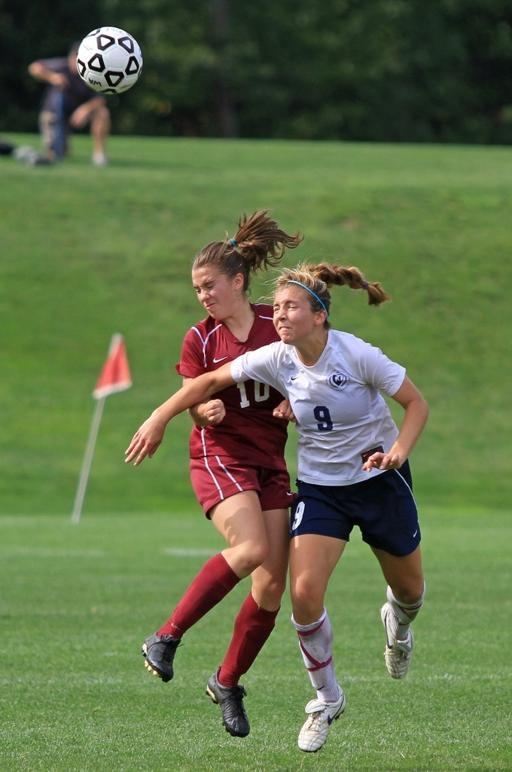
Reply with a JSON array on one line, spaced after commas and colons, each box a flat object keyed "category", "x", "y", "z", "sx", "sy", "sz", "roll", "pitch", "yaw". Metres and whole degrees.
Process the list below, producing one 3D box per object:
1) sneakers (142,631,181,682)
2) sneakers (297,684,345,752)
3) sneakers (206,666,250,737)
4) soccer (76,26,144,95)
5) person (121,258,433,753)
[{"category": "sneakers", "x": -0.339, "y": 0.963, "z": 3.397, "sx": 0.132, "sy": 0.164, "sz": 0.144, "roll": 1, "pitch": 13, "yaw": -1}, {"category": "sneakers", "x": 0.228, "y": 1.193, "z": 3.466, "sx": 0.088, "sy": 0.100, "sz": 0.243, "roll": 22, "pitch": 50, "yaw": 20}, {"category": "sneakers", "x": -0.113, "y": 1.154, "z": 3.540, "sx": 0.102, "sy": 0.110, "sz": 0.258, "roll": -2, "pitch": 41, "yaw": -46}, {"category": "soccer", "x": -0.865, "y": -1.930, "z": 5.700, "sx": 0.374, "sy": 0.389, "sz": 0.299, "roll": -1, "pitch": 13, "yaw": -9}, {"category": "person", "x": 0.194, "y": 0.431, "z": 3.778, "sx": 0.971, "sy": 1.795, "sz": 0.948, "roll": 7, "pitch": 15, "yaw": 22}]
